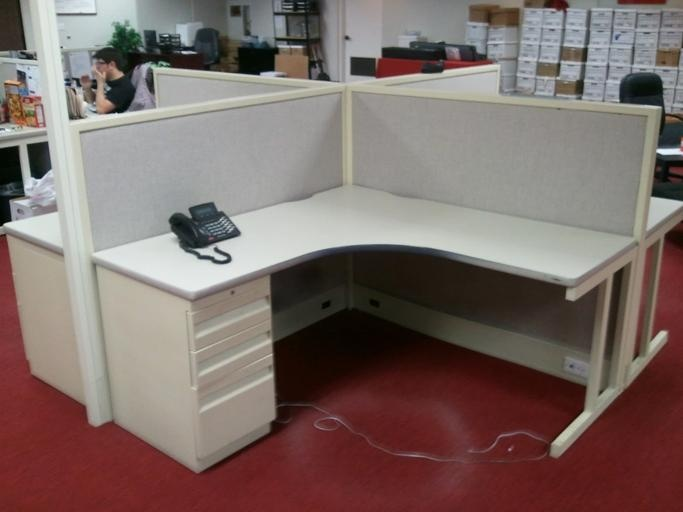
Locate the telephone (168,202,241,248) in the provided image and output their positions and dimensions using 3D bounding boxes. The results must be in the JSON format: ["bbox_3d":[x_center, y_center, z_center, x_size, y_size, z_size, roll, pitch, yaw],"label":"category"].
[{"bbox_3d":[-0.661,-0.158,2.565,0.273,0.133,0.258,-22,34,-40],"label":"telephone"}]
